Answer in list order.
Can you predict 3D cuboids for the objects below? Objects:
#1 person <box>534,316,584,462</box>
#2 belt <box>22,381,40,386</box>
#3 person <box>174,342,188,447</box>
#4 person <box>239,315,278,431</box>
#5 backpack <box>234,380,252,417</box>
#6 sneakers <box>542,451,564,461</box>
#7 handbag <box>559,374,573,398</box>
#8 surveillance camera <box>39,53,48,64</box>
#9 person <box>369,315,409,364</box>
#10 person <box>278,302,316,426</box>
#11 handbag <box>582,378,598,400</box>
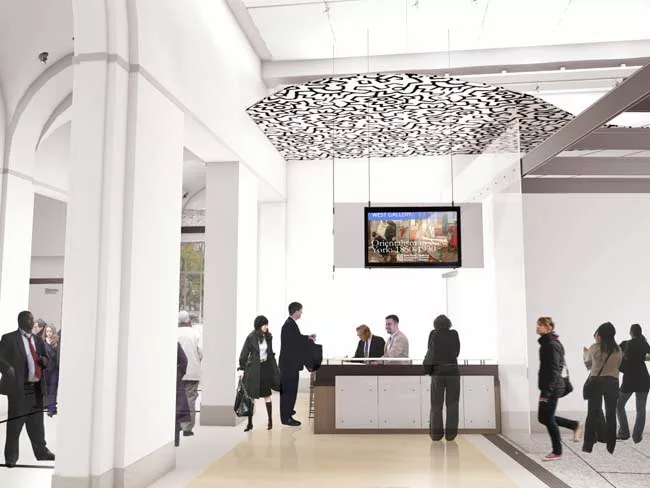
[{"bbox_3d":[2.975,1.825,6.471,0.593,1.643,0.712,4,8,24],"label":"person"},{"bbox_3d":[-3.895,1.834,6.709,0.108,0.029,0.108,-1,-6,20],"label":"belt"},{"bbox_3d":[-1.876,1.990,6.617,0.179,1.438,0.449,-1,7,-10],"label":"person"},{"bbox_3d":[-0.990,1.972,7.739,0.607,1.826,0.654,1,7,1],"label":"person"},{"bbox_3d":[-1.249,2.296,7.570,0.235,0.558,0.325,-5,9,-41],"label":"backpack"},{"bbox_3d":[2.835,2.627,6.300,0.253,0.106,0.097,3,-19,-5],"label":"sneakers"},{"bbox_3d":[3.084,1.799,6.462,0.186,0.259,0.088,6,-4,-35],"label":"handbag"},{"bbox_3d":[-4.123,-2.741,7.427,0.097,0.043,0.130,0,-47,-17],"label":"surveillance camera"},{"bbox_3d":[0.988,1.410,7.713,0.563,0.719,0.682,1,7,5],"label":"person"},{"bbox_3d":[-0.450,1.926,8.038,0.528,1.985,0.637,0,7,-4],"label":"person"},{"bbox_3d":[3.163,1.729,6.082,0.166,0.150,0.252,7,-33,5],"label":"handbag"}]
